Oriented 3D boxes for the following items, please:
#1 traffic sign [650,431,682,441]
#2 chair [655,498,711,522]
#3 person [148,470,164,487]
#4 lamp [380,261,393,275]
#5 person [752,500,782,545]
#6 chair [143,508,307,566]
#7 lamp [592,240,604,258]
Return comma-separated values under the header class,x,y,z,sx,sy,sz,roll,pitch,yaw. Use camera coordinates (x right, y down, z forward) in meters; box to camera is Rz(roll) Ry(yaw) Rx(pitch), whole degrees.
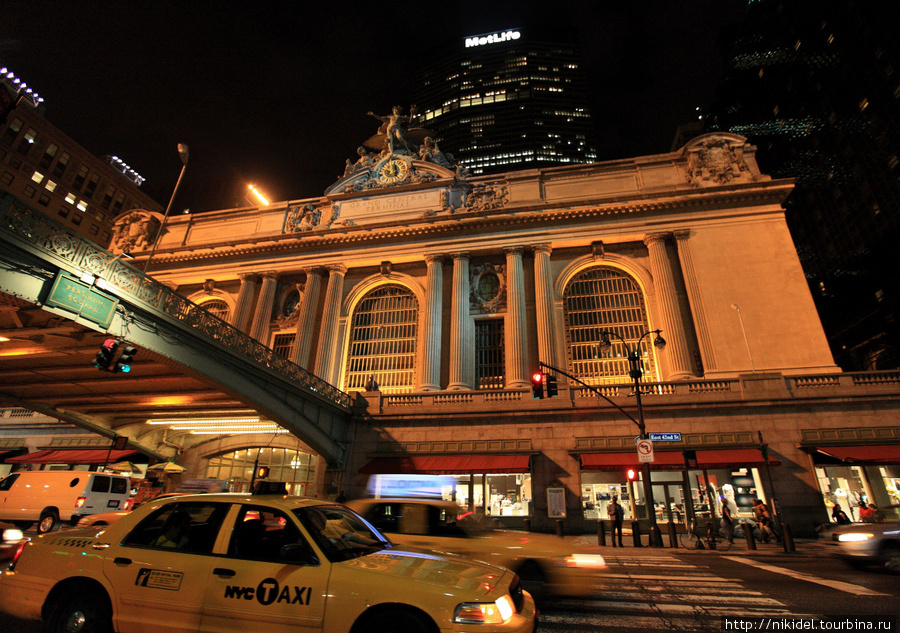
class,x,y,z,sx,sy,sz,roll,pitch,yaw
traffic sign,10.850,6.070,26.014,1.827,0.568,0.995,11,-14,-35
chair,11.381,9.571,25.381,2.185,0.658,1.232,-5,-15,27
person,-17.624,9.700,30.834,0.938,0.587,0.464,-14,-52,31
lamp,-4.933,-3.784,40.169,0.912,1.101,0.593,8,-14,-16
person,14.223,9.323,23.660,0.854,2.068,0.705,-6,3,6
chair,-4.099,3.953,9.492,2.507,0.565,1.208,4,-18,13
lamp,10.594,-4.910,37.151,0.866,1.096,0.461,1,-14,12
